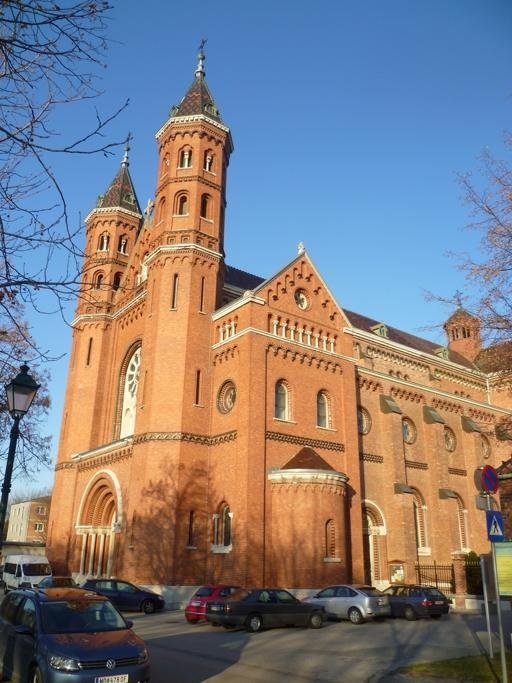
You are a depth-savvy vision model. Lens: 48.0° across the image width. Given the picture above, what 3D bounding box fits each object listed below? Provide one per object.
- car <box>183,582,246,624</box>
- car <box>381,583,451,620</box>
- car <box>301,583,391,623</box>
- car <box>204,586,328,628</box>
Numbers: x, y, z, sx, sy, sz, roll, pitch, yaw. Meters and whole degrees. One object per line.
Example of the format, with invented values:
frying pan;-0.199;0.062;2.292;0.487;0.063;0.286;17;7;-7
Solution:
car;-1.244;8.405;18.402;1.262;1.004;2.261;-20;-31;33
car;5.673;9.430;20.865;1.210;0.837;2.504;10;-25;-20
car;3.023;8.721;19.368;2.842;0.957;1.290;-17;-34;38
car;0.366;7.925;16.831;3.194;0.945;1.401;9;-34;-19
